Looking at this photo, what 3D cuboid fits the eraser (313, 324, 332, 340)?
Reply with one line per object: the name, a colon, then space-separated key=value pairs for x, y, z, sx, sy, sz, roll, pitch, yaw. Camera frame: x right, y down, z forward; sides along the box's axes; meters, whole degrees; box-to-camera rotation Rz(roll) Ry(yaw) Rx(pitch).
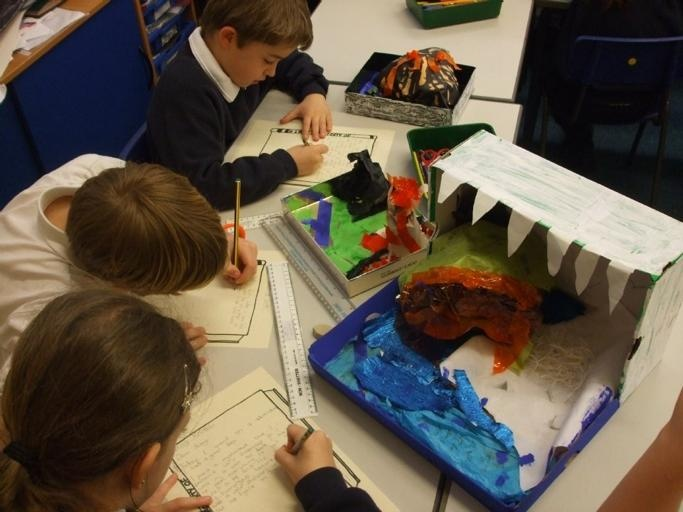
eraser: x=-0.047 y=0.184 z=1.359 sx=0.033 sy=0.009 sz=0.037 roll=4 pitch=41 yaw=1
